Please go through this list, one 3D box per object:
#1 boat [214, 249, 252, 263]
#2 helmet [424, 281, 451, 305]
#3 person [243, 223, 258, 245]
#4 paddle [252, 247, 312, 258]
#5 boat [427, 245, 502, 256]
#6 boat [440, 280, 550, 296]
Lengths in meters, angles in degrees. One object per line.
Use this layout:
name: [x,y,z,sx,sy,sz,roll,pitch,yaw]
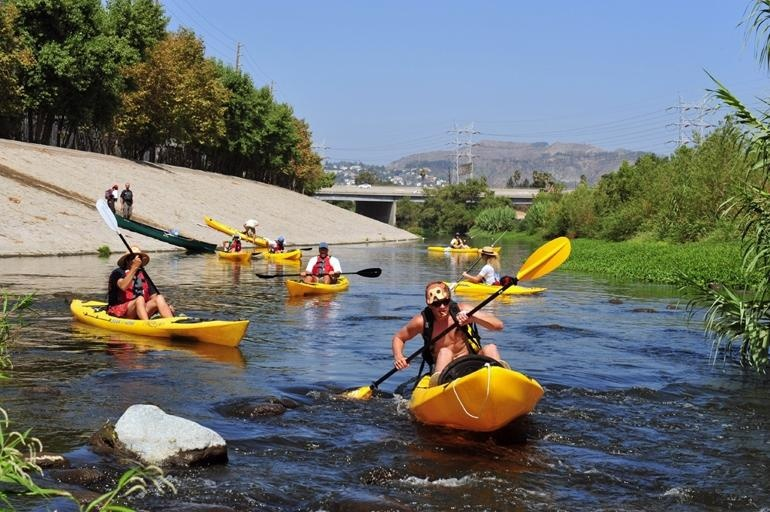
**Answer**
boat: [-6.522,0.003,37.964,0.609,0.358,2.393,2,0,-34]
helmet: [0.914,0.623,14.651,0.387,0.400,0.359,-10,10,2]
person: [-7.369,-1.264,48.324,0.682,1.125,1.482,0,1,-10]
paddle: [-4.922,-0.172,41.901,4.551,0.400,0.710,-2,7,31]
boat: [4.684,-0.306,47.018,5.136,0.539,1.342,0,-5,9]
boat: [2.999,0.872,23.379,2.818,0.305,0.593,-1,0,11]
